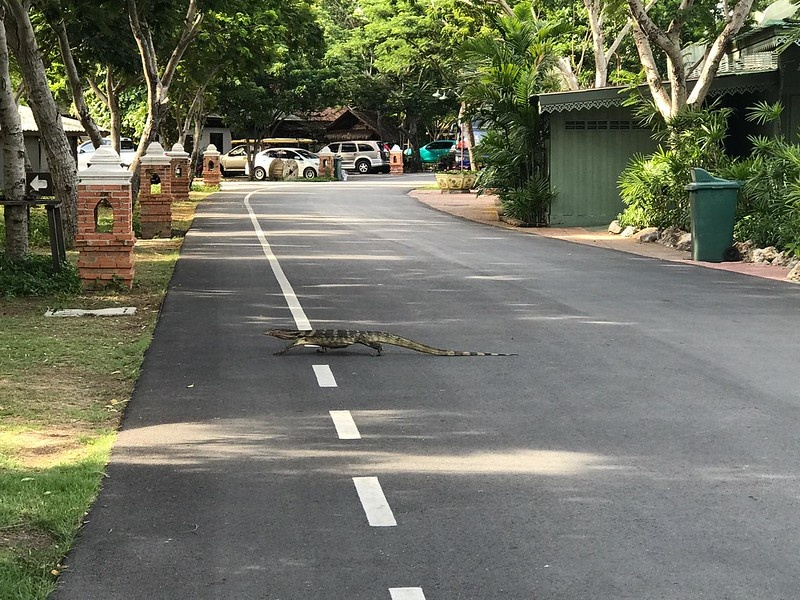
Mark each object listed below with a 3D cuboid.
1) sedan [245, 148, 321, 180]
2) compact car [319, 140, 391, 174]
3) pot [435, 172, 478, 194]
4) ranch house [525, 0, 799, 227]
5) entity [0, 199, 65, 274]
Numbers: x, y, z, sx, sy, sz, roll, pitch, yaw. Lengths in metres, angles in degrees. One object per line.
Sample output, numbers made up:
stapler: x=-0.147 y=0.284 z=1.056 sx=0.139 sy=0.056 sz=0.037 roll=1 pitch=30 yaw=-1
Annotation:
sedan: x=-8.182 y=-9.650 z=55.712 sx=4.673 sy=1.696 sz=2.555 roll=-3 pitch=11 yaw=-5
compact car: x=-3.782 y=-11.427 z=63.012 sx=5.995 sy=1.908 sz=2.564 roll=3 pitch=6 yaw=0
pot: x=2.745 y=-5.827 z=39.247 sx=1.809 sy=0.945 sz=1.333 roll=2 pitch=10 yaw=7
ranch house: x=8.274 y=-5.468 z=26.531 sx=8.356 sy=5.066 sz=7.797 roll=-1 pitch=3 yaw=3
entity: x=-6.524 y=-1.046 z=13.521 sx=1.494 sy=1.281 sz=1.440 roll=1 pitch=4 yaw=-12
